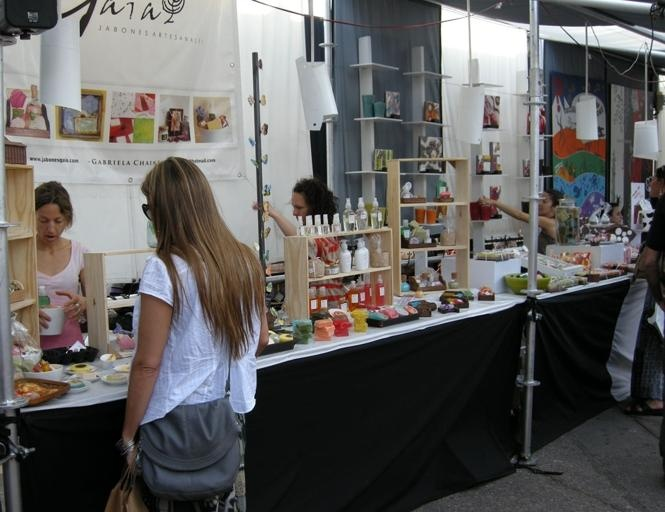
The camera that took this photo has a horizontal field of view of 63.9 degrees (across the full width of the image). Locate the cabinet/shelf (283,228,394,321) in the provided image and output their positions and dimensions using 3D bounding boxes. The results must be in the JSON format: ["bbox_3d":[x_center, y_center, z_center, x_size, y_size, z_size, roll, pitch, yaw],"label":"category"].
[{"bbox_3d":[0.023,0.092,3.357,0.801,0.525,0.327,-11,11,-41],"label":"cabinet/shelf"}]

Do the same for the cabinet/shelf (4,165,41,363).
[{"bbox_3d":[-1.458,-0.008,2.520,0.147,0.828,0.346,-7,8,-29],"label":"cabinet/shelf"}]

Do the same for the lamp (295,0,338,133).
[{"bbox_3d":[-0.081,-1.028,2.912,0.209,0.645,0.395,-4,8,-7],"label":"lamp"}]

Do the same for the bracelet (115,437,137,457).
[{"bbox_3d":[-0.709,0.655,1.837,0.065,0.074,0.051,9,-13,-17],"label":"bracelet"}]

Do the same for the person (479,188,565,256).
[{"bbox_3d":[1.910,-0.343,5.420,0.714,0.589,1.135,1,10,29],"label":"person"}]

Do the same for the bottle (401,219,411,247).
[{"bbox_3d":[0.523,-0.157,3.828,0.065,0.181,0.086,-1,8,13],"label":"bottle"}]

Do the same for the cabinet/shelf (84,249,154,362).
[{"bbox_3d":[-1.065,0.251,2.612,0.162,0.444,0.427,9,13,34],"label":"cabinet/shelf"}]

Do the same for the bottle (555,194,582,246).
[{"bbox_3d":[1.982,-0.296,4.480,0.215,0.395,0.168,-2,8,7],"label":"bottle"}]

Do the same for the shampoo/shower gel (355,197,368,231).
[{"bbox_3d":[0.188,-0.271,3.444,0.062,0.190,0.102,-1,8,16],"label":"shampoo/shower gel"}]

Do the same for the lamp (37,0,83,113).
[{"bbox_3d":[-1.073,-0.758,2.090,0.149,0.343,0.078,-8,9,-33],"label":"lamp"}]

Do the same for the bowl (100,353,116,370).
[{"bbox_3d":[-1.055,0.493,2.498,0.055,0.042,0.060,3,0,0],"label":"bowl"}]

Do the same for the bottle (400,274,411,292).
[{"bbox_3d":[0.536,0.211,4.021,0.090,0.116,0.098,-1,3,0],"label":"bottle"}]

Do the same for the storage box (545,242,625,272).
[{"bbox_3d":[2.160,-0.013,4.518,0.783,0.211,0.257,-6,9,-15],"label":"storage box"}]

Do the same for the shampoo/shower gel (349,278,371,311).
[{"bbox_3d":[0.175,0.255,3.425,0.158,0.246,0.079,-1,0,-45],"label":"shampoo/shower gel"}]

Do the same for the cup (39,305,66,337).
[{"bbox_3d":[-1.442,0.341,2.749,0.109,0.124,0.137,0,-2,39],"label":"cup"}]

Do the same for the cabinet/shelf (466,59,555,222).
[{"bbox_3d":[1.886,-0.784,5.433,0.982,1.915,0.890,5,2,30],"label":"cabinet/shelf"}]

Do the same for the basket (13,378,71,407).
[{"bbox_3d":[-1.148,0.526,2.063,0.208,0.078,0.176,-3,9,4],"label":"basket"}]
